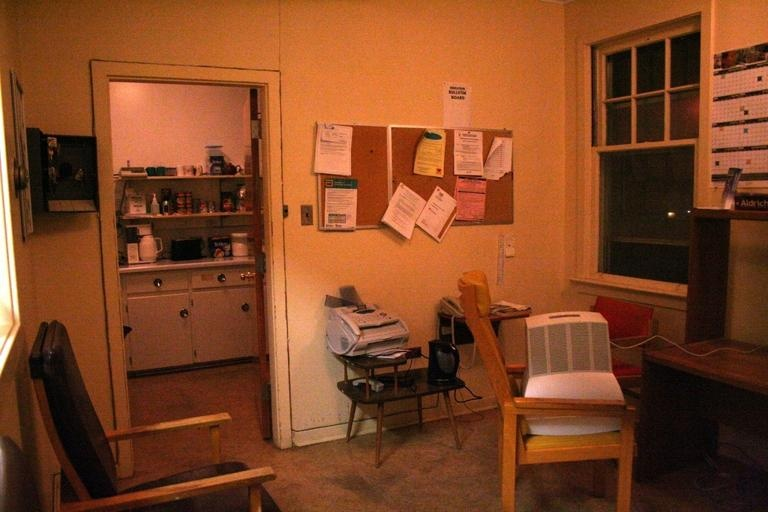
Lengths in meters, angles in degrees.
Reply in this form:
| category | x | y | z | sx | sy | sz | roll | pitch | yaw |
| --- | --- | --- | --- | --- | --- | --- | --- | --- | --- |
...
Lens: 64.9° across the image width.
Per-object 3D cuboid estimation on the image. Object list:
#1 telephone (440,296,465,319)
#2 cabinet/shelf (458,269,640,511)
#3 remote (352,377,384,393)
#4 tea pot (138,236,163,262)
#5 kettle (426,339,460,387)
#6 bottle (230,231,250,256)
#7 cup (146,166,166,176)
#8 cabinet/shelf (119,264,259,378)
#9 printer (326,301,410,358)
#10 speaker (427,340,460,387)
| category | x | y | z | sx | sy | sz | roll | pitch | yaw |
| --- | --- | --- | --- | --- | --- | --- | --- | --- | --- |
| telephone | 0.540 | 0.412 | 4.838 | 0.163 | 0.061 | 0.160 | 11 | 5 | -45 |
| cabinet/shelf | 1.264 | 0.759 | 4.347 | 1.356 | 1.845 | 1.191 | -3 | 6 | 0 |
| remote | -0.126 | 0.949 | 4.475 | 0.119 | 0.044 | 0.192 | 2 | 1 | -28 |
| tea pot | -2.394 | -0.083 | 6.227 | 0.170 | 0.273 | 0.372 | -3 | 9 | 2 |
| kettle | 0.430 | 0.803 | 4.483 | 0.220 | 0.308 | 0.328 | -3 | 6 | -38 |
| bottle | -1.570 | -0.118 | 6.488 | 0.278 | 0.241 | 0.128 | 2 | 11 | 32 |
| cup | -2.366 | -0.877 | 6.276 | 0.205 | 0.100 | 0.146 | -6 | 9 | -20 |
| cabinet/shelf | -1.977 | 0.623 | 5.946 | 1.161 | 0.928 | 0.469 | -1 | 0 | -24 |
| printer | -0.170 | 0.494 | 4.457 | 0.438 | 0.278 | 0.401 | -1 | 3 | -33 |
| speaker | 0.432 | 0.794 | 4.480 | 0.226 | 0.303 | 0.324 | -3 | 5 | -36 |
